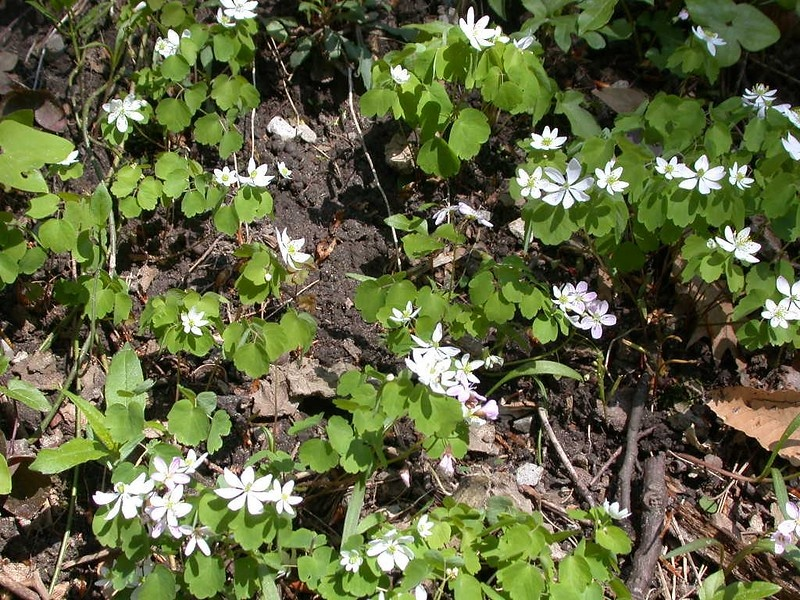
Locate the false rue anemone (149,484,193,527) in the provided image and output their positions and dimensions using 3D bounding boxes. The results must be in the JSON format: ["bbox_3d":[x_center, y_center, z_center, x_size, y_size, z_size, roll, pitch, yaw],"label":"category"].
[{"bbox_3d":[-0.963,0.877,3.054,0.180,0.144,0.143,-11,53,-15],"label":"false rue anemone"}]

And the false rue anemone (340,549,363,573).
[{"bbox_3d":[-0.205,1.087,3.057,0.077,0.042,0.099,2,77,-10],"label":"false rue anemone"}]

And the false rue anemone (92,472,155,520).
[{"bbox_3d":[-1.149,0.818,3.043,0.183,0.078,0.227,-3,52,-7],"label":"false rue anemone"}]

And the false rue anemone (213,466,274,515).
[{"bbox_3d":[-0.644,0.770,3.030,0.218,0.175,0.197,8,51,-1],"label":"false rue anemone"}]

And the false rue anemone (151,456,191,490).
[{"bbox_3d":[-0.973,0.728,3.114,0.131,0.059,0.147,32,49,-2],"label":"false rue anemone"}]

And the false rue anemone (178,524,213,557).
[{"bbox_3d":[-0.865,1.016,3.077,0.122,0.170,0.124,-3,50,-9],"label":"false rue anemone"}]
